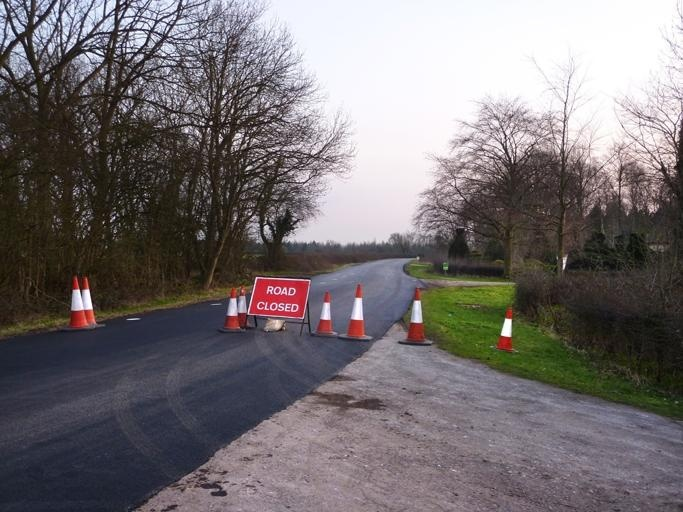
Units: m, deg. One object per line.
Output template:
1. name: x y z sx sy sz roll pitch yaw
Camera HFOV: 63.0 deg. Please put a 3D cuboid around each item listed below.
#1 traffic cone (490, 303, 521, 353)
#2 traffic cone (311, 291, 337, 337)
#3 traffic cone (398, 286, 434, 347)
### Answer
1. traffic cone: 3.971 1.709 13.405 0.771 1.031 0.839 8 5 -21
2. traffic cone: -0.423 1.413 14.144 0.707 1.108 0.781 6 -2 -1
3. traffic cone: 1.812 1.415 13.597 0.931 1.336 1.047 3 -2 10
